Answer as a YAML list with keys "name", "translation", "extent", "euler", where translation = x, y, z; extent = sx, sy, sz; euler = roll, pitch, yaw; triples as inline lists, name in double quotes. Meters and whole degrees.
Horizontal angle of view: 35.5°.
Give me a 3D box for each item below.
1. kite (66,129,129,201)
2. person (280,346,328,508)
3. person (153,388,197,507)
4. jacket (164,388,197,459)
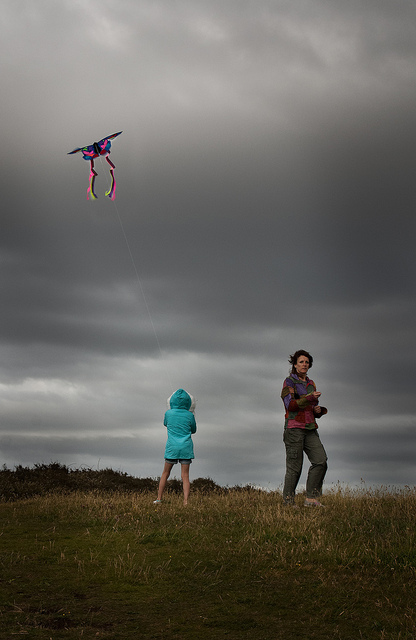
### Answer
- name: "kite"
  translation: [-1.775, -2.488, 10.692]
  extent: [1.382, 0.987, 0.200]
  euler: [-7, -1, 31]
- name: "person"
  translation: [1.469, 1.683, 10.014]
  extent: [0.674, 2.429, 0.948]
  euler: [-2, -9, 6]
- name: "person"
  translation: [-0.510, 2.199, 11.155]
  extent: [0.597, 1.977, 0.859]
  euler: [1, -9, -11]
- name: "jacket"
  translation: [-0.482, 1.780, 11.136]
  extent: [0.515, 1.155, 0.546]
  euler: [0, -9, -3]
